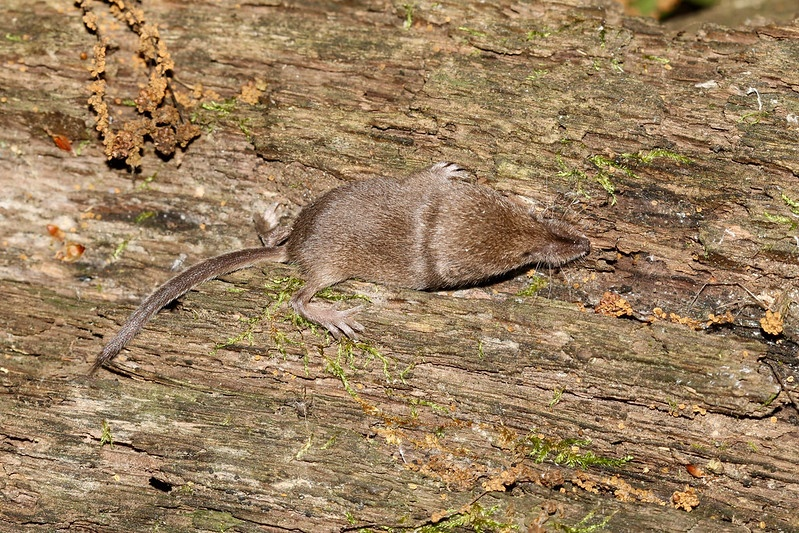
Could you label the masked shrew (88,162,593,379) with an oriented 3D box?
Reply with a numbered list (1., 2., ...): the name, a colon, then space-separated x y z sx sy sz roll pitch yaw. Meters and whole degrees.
1. masked shrew: -0.110 -0.229 10.082 6.308 0.965 1.763 -7 88 4
